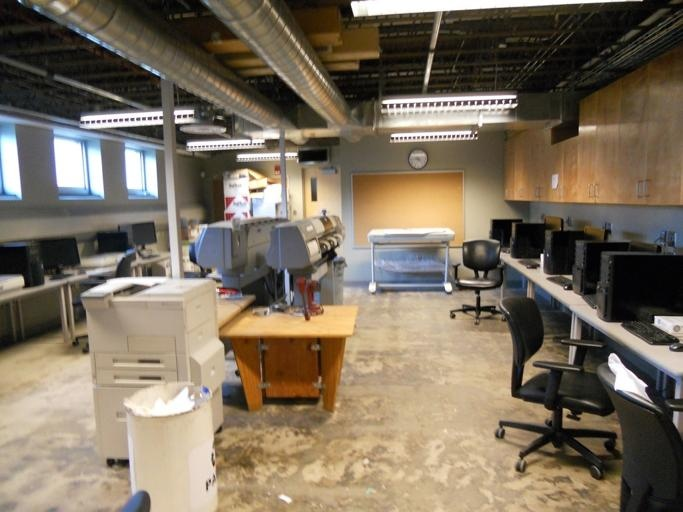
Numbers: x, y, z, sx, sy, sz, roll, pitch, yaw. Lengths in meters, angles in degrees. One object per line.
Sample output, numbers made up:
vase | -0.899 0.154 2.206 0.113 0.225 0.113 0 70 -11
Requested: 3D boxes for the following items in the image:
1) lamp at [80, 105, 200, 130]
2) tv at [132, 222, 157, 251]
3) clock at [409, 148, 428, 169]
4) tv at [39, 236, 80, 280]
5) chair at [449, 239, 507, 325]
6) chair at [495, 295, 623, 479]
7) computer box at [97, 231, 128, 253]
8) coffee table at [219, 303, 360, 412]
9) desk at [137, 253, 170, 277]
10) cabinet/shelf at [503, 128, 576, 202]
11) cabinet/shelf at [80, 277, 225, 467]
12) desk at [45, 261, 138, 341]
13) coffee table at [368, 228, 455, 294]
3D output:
lamp | -2.283 -1.598 5.847 1.414 0.197 0.742 1 9 27
tv | -3.201 -0.372 8.202 0.098 0.387 0.396 2 1 17
clock | 1.345 -1.734 8.788 0.328 0.369 0.046 1 5 1
tv | -3.577 -0.021 6.416 0.434 0.439 0.342 -9 5 -31
chair | 1.971 0.220 7.385 0.721 1.011 2.129 0 8 15
chair | 1.663 0.970 3.939 0.924 1.205 0.875 -9 10 -39
computer box | -3.438 -0.228 7.597 0.413 0.317 0.401 1 5 -20
coffee table | -0.477 0.861 4.453 0.922 0.606 0.904 0 6 1
desk | -2.980 0.138 8.056 0.438 0.421 0.868 -5 8 -16
cabinet/shelf | 2.869 -1.336 7.296 0.336 1.053 2.100 -4 7 -4
cabinet/shelf | -1.620 0.806 4.659 1.238 1.930 1.294 0 9 2
desk | -2.591 0.433 5.141 0.417 0.456 0.860 3 15 0
coffee table | 1.142 0.035 8.757 1.490 1.181 1.093 0 2 4
